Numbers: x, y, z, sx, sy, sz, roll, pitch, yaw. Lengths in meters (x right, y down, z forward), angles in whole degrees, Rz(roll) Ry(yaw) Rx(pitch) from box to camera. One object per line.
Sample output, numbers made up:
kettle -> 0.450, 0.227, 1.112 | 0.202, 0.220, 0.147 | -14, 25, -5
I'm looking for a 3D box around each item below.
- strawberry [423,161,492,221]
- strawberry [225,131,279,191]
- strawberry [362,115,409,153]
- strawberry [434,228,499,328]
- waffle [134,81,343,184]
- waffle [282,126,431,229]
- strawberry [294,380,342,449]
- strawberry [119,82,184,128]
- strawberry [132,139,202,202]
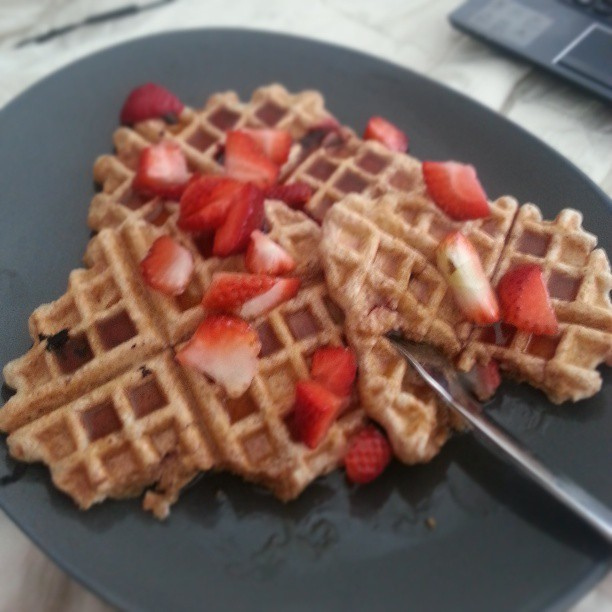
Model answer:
strawberry -> 0.382, -0.303, 1.875 | 0.149, 0.042, 0.154 | -10, 69, -9
strawberry -> -0.157, -0.382, 1.921 | 0.146, 0.047, 0.146 | 25, 84, 8
strawberry -> 0.227, -0.489, 2.072 | 0.113, 0.047, 0.110 | 24, 40, -18
strawberry -> 0.368, -0.074, 1.788 | 0.155, 0.192, 0.225 | -3, 27, 0
waffle -> -0.201, -0.522, 2.077 | 0.381, 0.101, 0.373 | -32, 54, -21
waffle -> 0.140, -0.360, 1.971 | 0.297, 0.094, 0.308 | 32, 54, 31
strawberry -> 0.006, 0.235, 1.658 | 0.107, 0.057, 0.139 | 28, 74, 12
strawberry -> -0.442, -0.566, 2.126 | 0.188, 0.126, 0.136 | 18, 36, 34
strawberry -> -0.377, -0.360, 1.948 | 0.124, 0.157, 0.197 | 22, 36, 39
